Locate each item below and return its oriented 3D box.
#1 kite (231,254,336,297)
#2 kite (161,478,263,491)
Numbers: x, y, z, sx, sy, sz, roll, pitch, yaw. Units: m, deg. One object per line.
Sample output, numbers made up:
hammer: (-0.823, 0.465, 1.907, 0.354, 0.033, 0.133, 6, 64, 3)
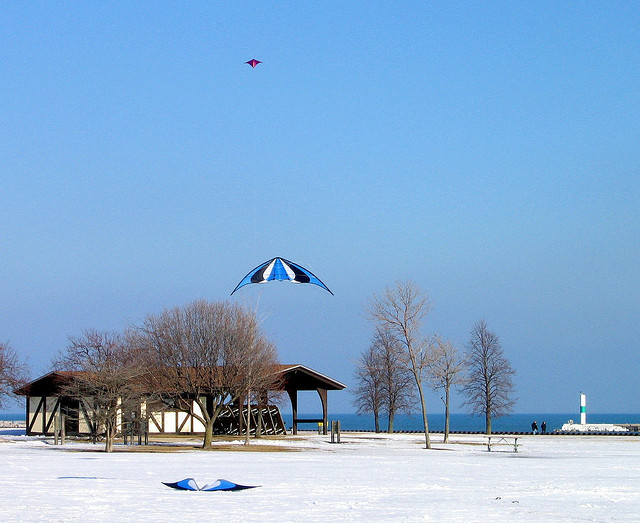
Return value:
kite: (-1.835, 0.745, 65.628, 5.052, 0.064, 2.243, 1, -48, 5)
kite: (-3.558, 7.318, 45.469, 2.883, 0.401, 1.508, 0, -11, -6)
